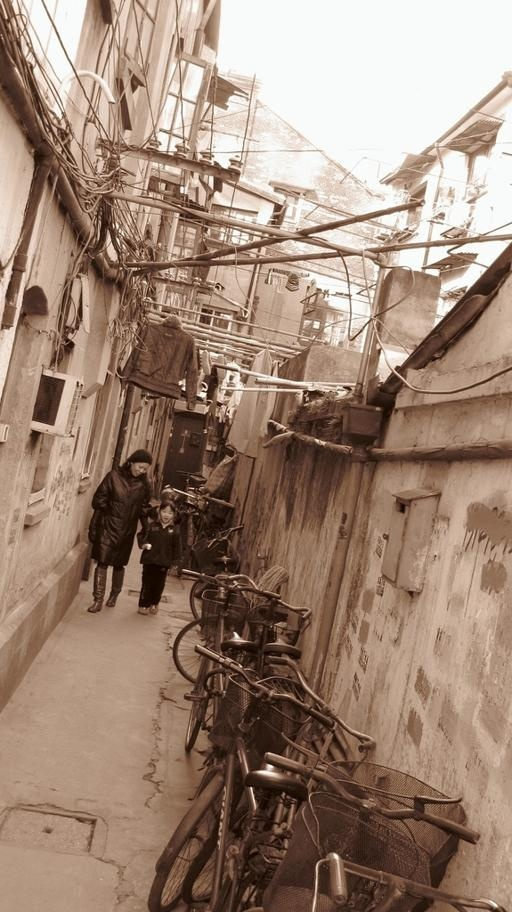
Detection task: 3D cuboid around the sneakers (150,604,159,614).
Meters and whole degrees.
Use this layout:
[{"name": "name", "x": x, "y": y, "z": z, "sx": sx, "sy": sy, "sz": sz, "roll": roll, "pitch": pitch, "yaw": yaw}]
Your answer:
[{"name": "sneakers", "x": -1.523, "y": 2.299, "z": 9.582, "sx": 0.053, "sy": 0.134, "sz": 0.178, "roll": 4, "pitch": 9, "yaw": -1}]

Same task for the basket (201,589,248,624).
[{"name": "basket", "x": -0.249, "y": 1.232, "z": 5.051, "sx": 0.334, "sy": 0.237, "sz": 0.233, "roll": 23, "pitch": -4, "yaw": -36}]

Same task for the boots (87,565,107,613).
[{"name": "boots", "x": -2.216, "y": 1.855, "z": 8.938, "sx": 0.185, "sy": 0.662, "sz": 0.455, "roll": 10, "pitch": -3, "yaw": -11}]

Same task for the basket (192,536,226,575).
[{"name": "basket", "x": -0.751, "y": 1.584, "z": 10.225, "sx": 0.482, "sy": 0.547, "sz": 0.551, "roll": 21, "pitch": -13, "yaw": -18}]

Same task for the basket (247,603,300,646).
[{"name": "basket", "x": 0.094, "y": 1.280, "z": 4.799, "sx": 0.476, "sy": 0.349, "sz": 0.303, "roll": -10, "pitch": -16, "yaw": 42}]

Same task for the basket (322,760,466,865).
[{"name": "basket", "x": 0.403, "y": 0.979, "z": 1.804, "sx": 0.279, "sy": 0.134, "sz": 0.366, "roll": 36, "pitch": -7, "yaw": -10}]

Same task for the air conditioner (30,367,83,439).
[{"name": "air conditioner", "x": -1.531, "y": -0.399, "z": 4.972, "sx": 0.434, "sy": 0.481, "sz": 0.256, "roll": 11, "pitch": 3, "yaw": 34}]
